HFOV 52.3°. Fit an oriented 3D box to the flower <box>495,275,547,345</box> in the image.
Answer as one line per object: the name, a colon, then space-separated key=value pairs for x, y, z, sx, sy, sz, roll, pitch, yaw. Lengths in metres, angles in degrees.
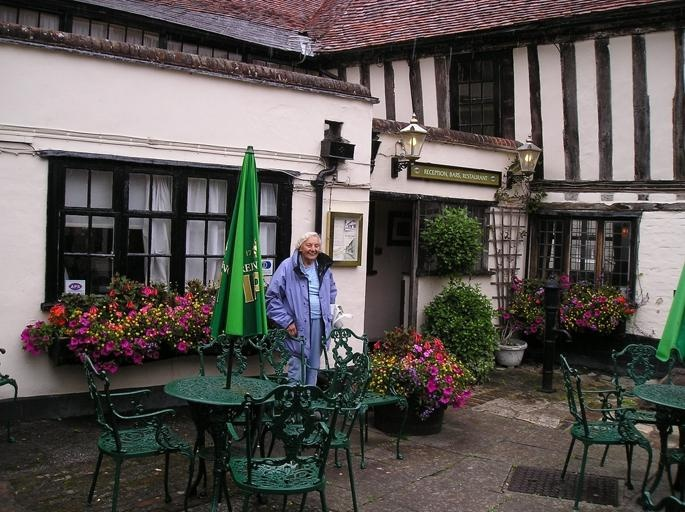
flower: x=3.269 y=0.924 z=12.449 sx=0.897 sy=1.262 sz=1.052 roll=2 pitch=1 yaw=8

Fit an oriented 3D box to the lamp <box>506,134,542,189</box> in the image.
lamp: x=3.090 y=-1.543 z=12.008 sx=0.422 sy=0.747 sz=0.808 roll=-2 pitch=4 yaw=-2

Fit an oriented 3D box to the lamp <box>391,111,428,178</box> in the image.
lamp: x=1.003 y=-1.641 z=10.531 sx=0.497 sy=0.881 sz=0.745 roll=-2 pitch=4 yaw=-10

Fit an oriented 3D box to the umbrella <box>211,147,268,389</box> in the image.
umbrella: x=-0.934 y=-0.135 z=6.149 sx=0.473 sy=1.665 sz=0.315 roll=-3 pitch=4 yaw=-23

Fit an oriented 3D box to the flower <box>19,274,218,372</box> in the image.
flower: x=-2.915 y=0.853 z=8.139 sx=1.009 sy=0.599 sz=1.628 roll=18 pitch=-9 yaw=-7

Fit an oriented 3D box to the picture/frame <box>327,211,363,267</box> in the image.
picture/frame: x=0.015 y=-0.237 z=9.451 sx=0.063 sy=0.821 sz=0.661 roll=-5 pitch=-8 yaw=41

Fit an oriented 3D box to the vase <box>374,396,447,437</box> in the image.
vase: x=0.761 y=1.799 z=8.014 sx=0.581 sy=0.266 sz=0.501 roll=2 pitch=-4 yaw=-2

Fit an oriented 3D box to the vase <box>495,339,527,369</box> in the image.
vase: x=2.865 y=1.631 z=11.803 sx=0.442 sy=0.432 sz=0.823 roll=1 pitch=5 yaw=32
